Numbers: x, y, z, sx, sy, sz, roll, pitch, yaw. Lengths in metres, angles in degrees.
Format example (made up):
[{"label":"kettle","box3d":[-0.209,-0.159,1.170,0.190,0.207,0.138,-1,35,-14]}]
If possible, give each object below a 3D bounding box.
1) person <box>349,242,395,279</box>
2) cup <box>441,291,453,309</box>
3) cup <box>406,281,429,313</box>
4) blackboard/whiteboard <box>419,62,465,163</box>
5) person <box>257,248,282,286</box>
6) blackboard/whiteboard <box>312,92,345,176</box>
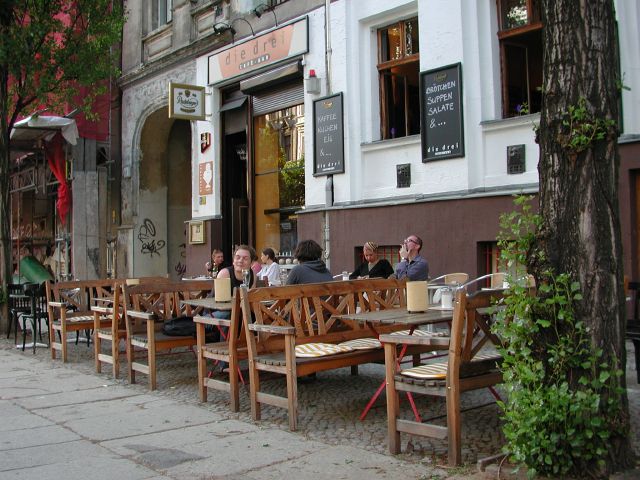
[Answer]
[{"label":"person","box3d":[0.901,0.430,11.088,0.523,0.785,0.782,-1,-5,-45]},{"label":"cup","box3d":[1.320,0.607,6.797,0.106,0.193,0.097,-1,2,0]},{"label":"cup","box3d":[0.982,0.551,6.612,0.213,0.283,0.230,-2,4,0]},{"label":"blackboard/whiteboard","box3d":[2.190,-2.259,11.840,0.904,1.643,0.136,0,2,44]},{"label":"person","box3d":[-0.928,0.509,12.078,0.501,0.884,0.653,1,-2,6]},{"label":"blackboard/whiteboard","box3d":[0.173,-2.171,13.704,0.949,1.616,0.180,0,2,44]}]
